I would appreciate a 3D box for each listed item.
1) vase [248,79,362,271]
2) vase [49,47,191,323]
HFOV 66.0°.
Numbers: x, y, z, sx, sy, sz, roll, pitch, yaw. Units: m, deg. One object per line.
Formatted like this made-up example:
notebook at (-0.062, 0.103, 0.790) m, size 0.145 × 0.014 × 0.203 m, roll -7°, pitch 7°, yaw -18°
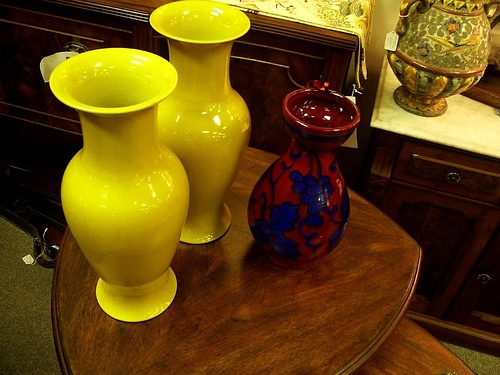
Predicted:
vase at (0.096, -0.013, 0.636) m, size 0.161 × 0.256 × 0.203 m, roll 19°, pitch 49°, yaw 19°
vase at (-0.181, 0.018, 0.565) m, size 0.172 × 0.353 × 0.174 m, roll 25°, pitch 37°, yaw 29°
